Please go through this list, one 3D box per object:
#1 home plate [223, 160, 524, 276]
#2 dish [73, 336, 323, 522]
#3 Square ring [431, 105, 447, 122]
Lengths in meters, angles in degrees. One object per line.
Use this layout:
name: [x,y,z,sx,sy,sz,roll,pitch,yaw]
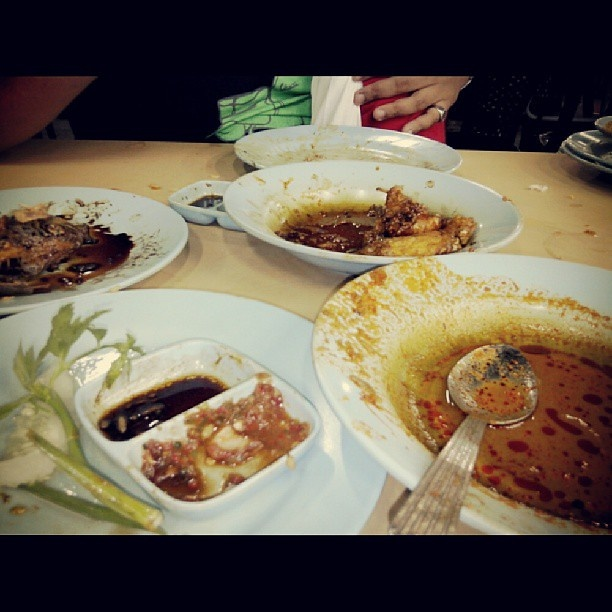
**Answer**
home plate: [0.102,-0.271,1.683,0.899,0.157,0.823,0,7,-29]
dish: [-0.155,0.175,0.828,0.322,0.086,0.258,30,44,34]
Square ring: [0.501,-0.734,2.150,0.054,0.059,0.092,18,39,19]
